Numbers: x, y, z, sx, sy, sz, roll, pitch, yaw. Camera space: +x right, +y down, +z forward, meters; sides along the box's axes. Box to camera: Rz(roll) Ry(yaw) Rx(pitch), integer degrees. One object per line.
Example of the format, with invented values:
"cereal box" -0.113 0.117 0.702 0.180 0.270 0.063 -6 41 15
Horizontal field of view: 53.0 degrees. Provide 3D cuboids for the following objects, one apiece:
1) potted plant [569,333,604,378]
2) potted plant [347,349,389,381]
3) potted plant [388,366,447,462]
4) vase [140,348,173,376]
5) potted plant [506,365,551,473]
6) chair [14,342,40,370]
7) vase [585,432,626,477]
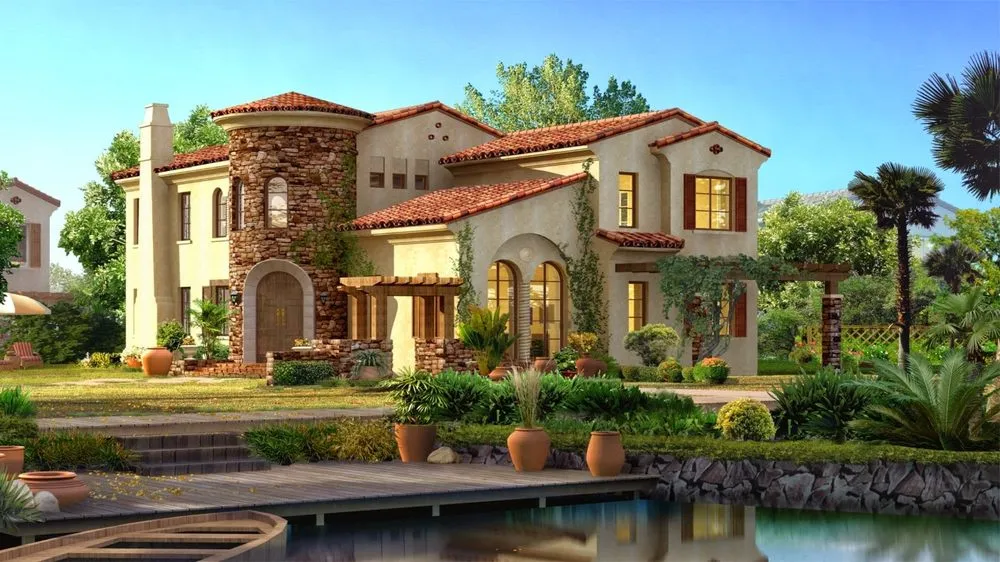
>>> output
"potted plant" 3.377 2.636 36.159 1.428 1.837 1.315 5 -14 -21
"potted plant" -4.764 2.970 35.841 1.078 0.750 1.096 -6 -8 37
"potted plant" -1.968 3.267 24.351 1.224 1.993 1.052 -2 10 -14
"vase" -13.521 3.183 39.808 1.120 1.100 1.071 -2 7 -41
"potted plant" 0.686 3.124 23.816 1.014 2.337 2.084 1 10 2
"chair" -22.105 3.484 46.819 0.988 1.065 1.632 -1 7 -29
"vase" 2.361 3.905 22.787 1.000 0.925 1.010 -2 -7 41
